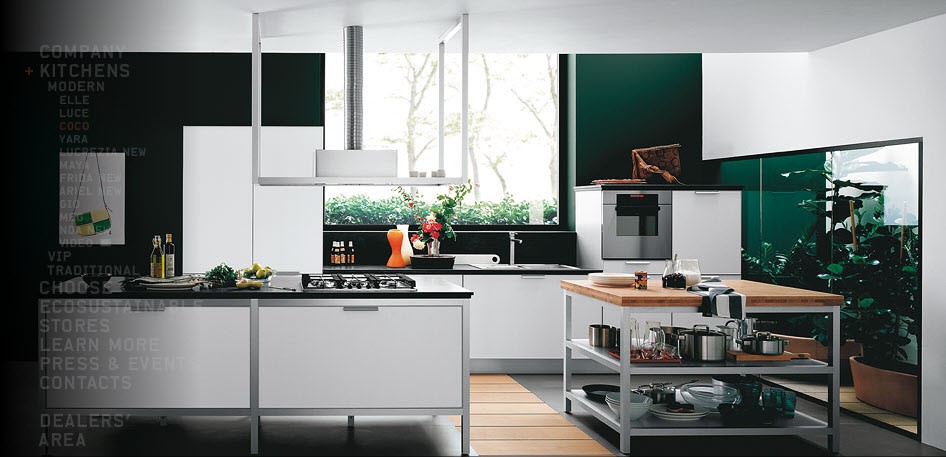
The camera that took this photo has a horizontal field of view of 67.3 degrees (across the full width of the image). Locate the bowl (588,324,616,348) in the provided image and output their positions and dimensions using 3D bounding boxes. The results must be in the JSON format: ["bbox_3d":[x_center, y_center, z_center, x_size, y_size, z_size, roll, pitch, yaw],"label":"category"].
[{"bbox_3d":[1.561,1.298,8.599,0.261,0.197,0.328,1,2,-10],"label":"bowl"}]

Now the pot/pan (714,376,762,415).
[{"bbox_3d":[3.046,1.976,8.149,0.715,0.354,0.331,0,-2,3],"label":"pot/pan"}]

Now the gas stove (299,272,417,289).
[{"bbox_3d":[-1.344,0.610,8.298,1.459,0.102,0.960,0,2,7],"label":"gas stove"}]

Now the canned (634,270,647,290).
[{"bbox_3d":[1.941,0.619,8.332,0.231,0.245,0.198,1,-4,2],"label":"canned"}]

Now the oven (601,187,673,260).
[{"bbox_3d":[2.307,-0.048,10.134,1.128,0.791,0.673,1,-4,4],"label":"oven"}]

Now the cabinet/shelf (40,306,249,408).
[{"bbox_3d":[-3.498,1.392,7.774,2.688,0.964,1.221,0,-4,-4],"label":"cabinet/shelf"}]

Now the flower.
[{"bbox_3d":[-0.483,-0.132,10.522,1.341,0.992,1.126,1,-11,-9],"label":"flower"}]

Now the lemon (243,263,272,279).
[{"bbox_3d":[-2.538,0.503,8.274,0.278,0.085,0.253,1,1,27],"label":"lemon"}]

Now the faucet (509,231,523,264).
[{"bbox_3d":[0.618,0.289,10.349,0.217,0.472,0.343,0,2,2],"label":"faucet"}]

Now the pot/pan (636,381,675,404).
[{"bbox_3d":[2.163,1.913,8.331,0.327,0.147,0.282,0,-1,-2],"label":"pot/pan"}]

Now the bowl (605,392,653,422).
[{"bbox_3d":[1.769,2.009,8.099,0.439,0.144,0.377,0,-6,3],"label":"bowl"}]

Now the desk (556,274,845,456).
[{"bbox_3d":[2.643,1.488,8.589,2.780,1.438,2.379,1,-1,-1],"label":"desk"}]

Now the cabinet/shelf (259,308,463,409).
[{"bbox_3d":[-1.328,1.411,8.328,2.476,0.869,1.211,0,0,-2],"label":"cabinet/shelf"}]

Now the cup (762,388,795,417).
[{"bbox_3d":[3.441,1.961,8.155,0.448,0.259,0.353,3,-5,-2],"label":"cup"}]
